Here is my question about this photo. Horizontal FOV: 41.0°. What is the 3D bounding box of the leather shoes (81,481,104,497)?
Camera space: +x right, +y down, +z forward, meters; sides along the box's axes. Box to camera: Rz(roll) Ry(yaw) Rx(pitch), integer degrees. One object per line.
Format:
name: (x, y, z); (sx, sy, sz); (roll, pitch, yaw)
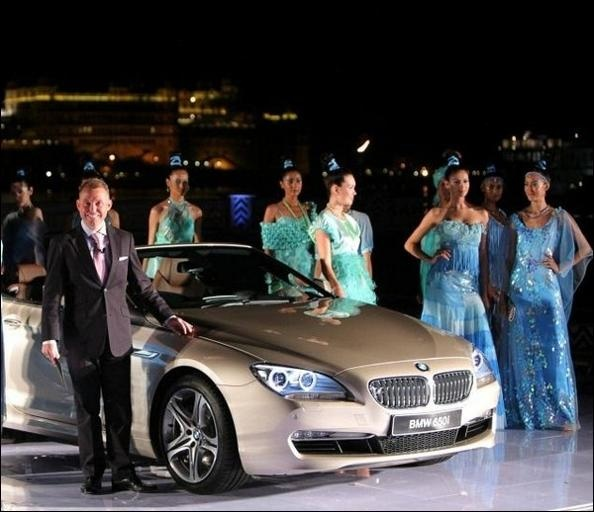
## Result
leather shoes: (-1.259, 1.435, 4.812); (0.059, 0.064, 0.145); (-1, -14, 0)

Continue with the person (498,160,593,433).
person: (2.158, 0.331, 6.930); (0.761, 2.319, 0.579); (0, 2, 14)

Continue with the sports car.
sports car: (-0.560, 0.658, 5.354); (1.539, 1.137, 3.367); (0, 2, -44)

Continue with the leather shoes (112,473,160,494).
leather shoes: (-0.975, 1.396, 4.886); (0.317, 0.150, 0.109); (-1, -2, 11)
